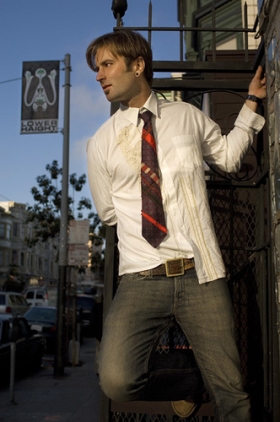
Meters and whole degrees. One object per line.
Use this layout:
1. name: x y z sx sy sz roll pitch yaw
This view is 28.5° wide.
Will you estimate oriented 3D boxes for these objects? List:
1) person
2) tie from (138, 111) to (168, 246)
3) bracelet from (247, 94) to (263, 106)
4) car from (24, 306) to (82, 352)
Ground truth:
1. person: 0.159 0.008 2.532 0.803 1.791 0.523 0 -6 -7
2. tie: 0.046 -0.155 2.437 0.096 0.628 0.206 0 -5 -4
3. bracelet: 0.592 -0.583 2.894 0.061 0.027 0.058 29 2 27
4. car: -2.724 3.114 15.380 1.132 0.990 2.803 -1 -4 8
